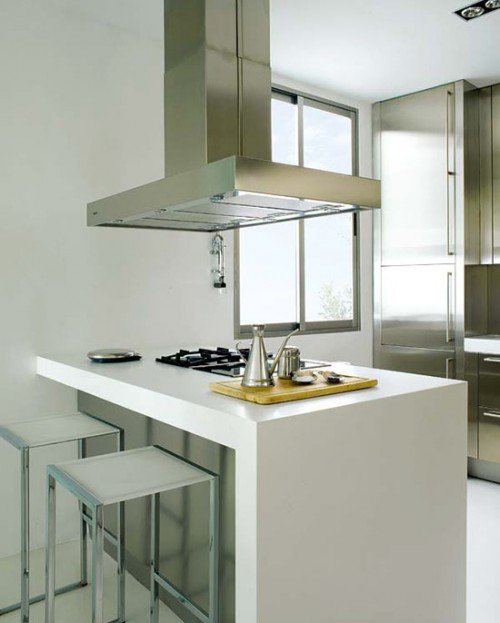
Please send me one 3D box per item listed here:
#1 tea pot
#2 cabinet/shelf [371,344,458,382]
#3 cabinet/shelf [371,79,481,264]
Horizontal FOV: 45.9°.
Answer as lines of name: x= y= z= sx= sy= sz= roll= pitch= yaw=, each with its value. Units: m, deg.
tea pot: x=0.063 y=0.143 z=1.878 sx=0.161 sy=0.192 sz=0.109 roll=3 pitch=4 yaw=11
cabinet/shelf: x=1.211 y=0.369 z=4.329 sx=0.240 sy=0.240 sz=0.358 roll=2 pitch=-2 yaw=-42
cabinet/shelf: x=1.265 y=-0.983 z=4.368 sx=0.562 sy=1.220 sz=0.389 roll=2 pitch=14 yaw=27
